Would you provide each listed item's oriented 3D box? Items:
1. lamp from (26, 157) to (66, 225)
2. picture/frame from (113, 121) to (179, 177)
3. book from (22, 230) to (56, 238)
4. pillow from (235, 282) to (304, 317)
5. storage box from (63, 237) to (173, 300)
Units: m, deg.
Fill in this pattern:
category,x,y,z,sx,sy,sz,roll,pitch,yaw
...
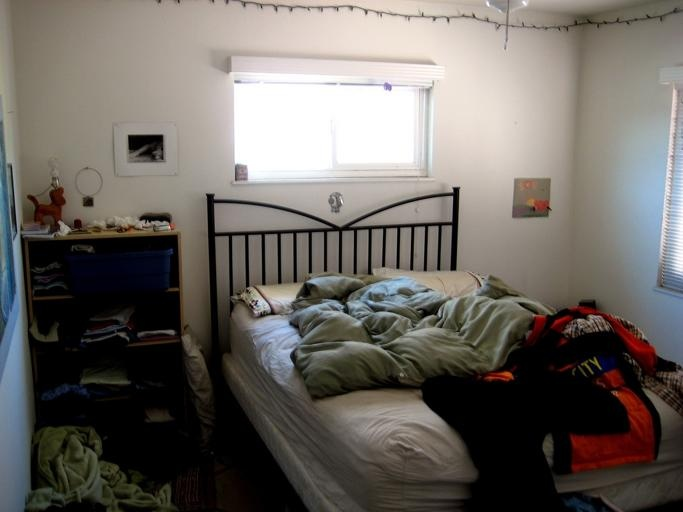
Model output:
category,x,y,z,sx,sy,sz,roll,pitch,yaw
lamp,-1.783,-0.376,3.080,0.199,0.404,0.376,-5,11,-31
picture/frame,-1.305,-0.708,3.391,0.392,0.375,0.049,-3,-10,-15
book,-1.706,-0.120,2.861,0.166,0.043,0.061,-6,12,-32
pillow,-0.453,0.285,3.332,0.265,0.065,0.268,-7,21,-21
storage box,-1.322,0.061,3.039,0.472,0.223,0.331,-1,3,-16
